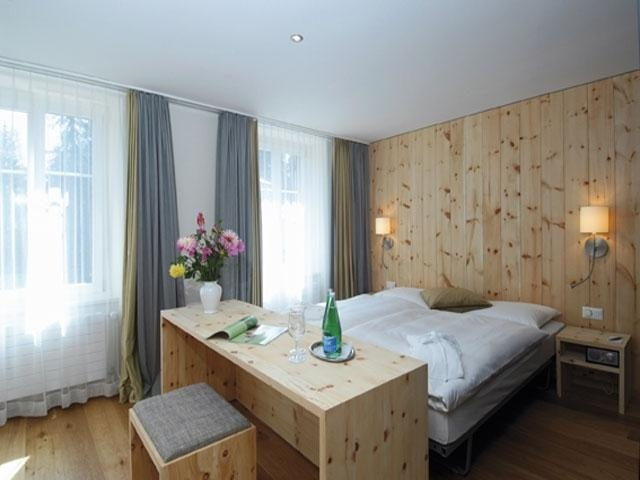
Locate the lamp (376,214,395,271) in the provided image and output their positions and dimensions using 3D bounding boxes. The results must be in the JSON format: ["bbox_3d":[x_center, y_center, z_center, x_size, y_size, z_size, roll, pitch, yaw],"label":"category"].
[{"bbox_3d":[0.883,0.063,6.422,0.176,0.718,0.305,-5,4,-31],"label":"lamp"}]

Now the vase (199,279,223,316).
[{"bbox_3d":[-0.928,0.482,3.896,0.197,0.271,0.200,-5,4,-41],"label":"vase"}]

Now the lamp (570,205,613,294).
[{"bbox_3d":[2.691,0.093,4.577,0.345,0.840,0.185,0,5,35],"label":"lamp"}]

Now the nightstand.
[{"bbox_3d":[2.562,1.125,4.537,0.592,0.898,0.777,0,-1,-44],"label":"nightstand"}]

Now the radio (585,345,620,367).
[{"bbox_3d":[2.599,1.079,4.213,0.254,0.163,0.032,-1,4,32],"label":"radio"}]

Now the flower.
[{"bbox_3d":[-1.059,0.128,4.168,0.668,0.804,0.739,2,0,-1],"label":"flower"}]
